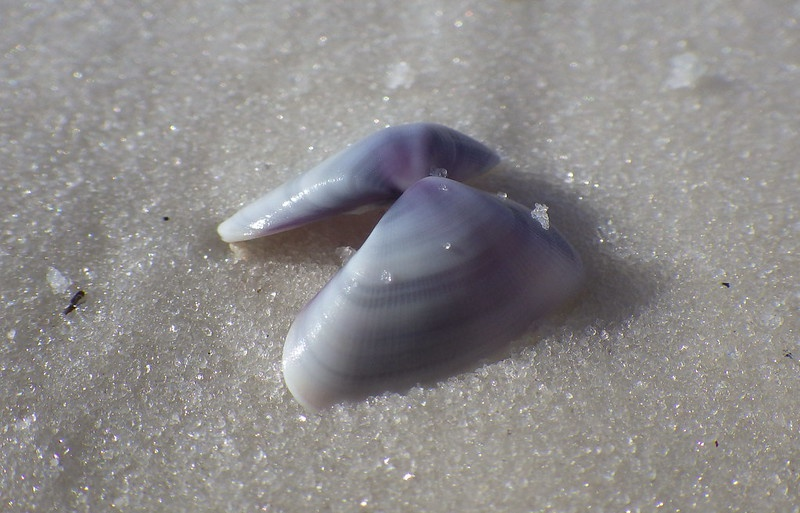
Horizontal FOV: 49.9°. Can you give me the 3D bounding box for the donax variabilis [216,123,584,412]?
[{"bbox_3d":[-0.007,0.004,0.995,0.359,0.090,0.296,-27,83,-4],"label":"donax variabilis"}]
